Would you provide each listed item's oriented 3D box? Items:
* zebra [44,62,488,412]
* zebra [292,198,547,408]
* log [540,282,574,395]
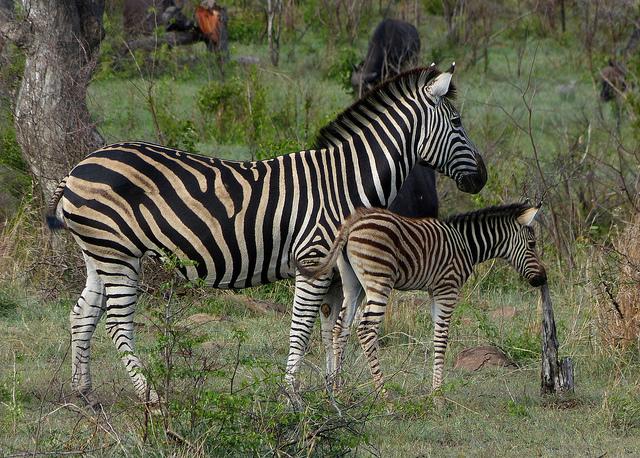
[{"bbox_3d":[-0.686,0.254,10.721,3.945,3.551,1.209,0,-4,-5],"label":"zebra"},{"bbox_3d":[1.291,0.829,10.508,3.049,2.712,0.774,3,5,-16],"label":"zebra"},{"bbox_3d":[2.767,1.307,10.117,0.360,1.562,0.384,-10,30,8],"label":"log"}]
